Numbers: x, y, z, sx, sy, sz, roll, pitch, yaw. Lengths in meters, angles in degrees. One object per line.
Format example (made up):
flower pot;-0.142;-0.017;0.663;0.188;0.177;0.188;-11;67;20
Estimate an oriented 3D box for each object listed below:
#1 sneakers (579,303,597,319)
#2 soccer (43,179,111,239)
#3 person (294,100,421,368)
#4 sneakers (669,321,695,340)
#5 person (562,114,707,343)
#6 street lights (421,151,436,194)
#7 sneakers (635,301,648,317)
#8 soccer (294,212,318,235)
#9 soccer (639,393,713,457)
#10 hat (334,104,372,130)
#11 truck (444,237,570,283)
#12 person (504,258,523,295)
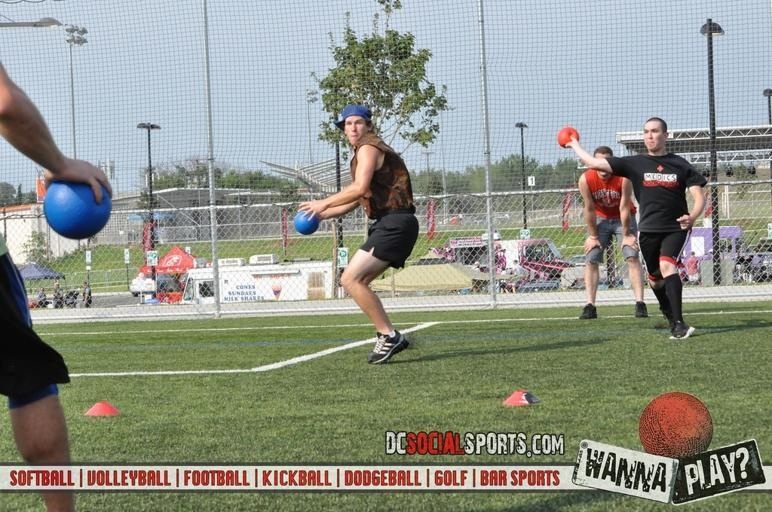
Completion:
sneakers;2.670;0.736;14.705;0.214;0.189;0.456;1;1;8
soccer;-2.673;-0.431;9.513;0.523;0.556;0.511;-2;17;2
person;-0.192;-0.285;12.203;1.052;2.708;0.702;-4;1;0
sneakers;3.300;0.834;12.378;0.137;0.151;0.336;-25;-8;-2
person;3.071;-0.342;12.791;1.224;2.215;0.800;-4;1;15
street lights;0.661;-1.339;17.318;0.142;0.664;0.188;-4;1;0
sneakers;3.311;0.694;14.386;0.101;0.156;0.252;1;5;13
soccer;-0.876;-0.348;12.288;0.250;0.273;0.245;-9;-16;12
soccer;2.503;1.512;9.561;0.564;0.547;0.539;-11;-16;21
hat;-0.379;-1.580;12.358;0.374;0.167;0.266;-11;3;-8
truck;3.244;0.105;30.075;2.570;1.205;1.449;-1;3;15
person;3.161;0.523;27.577;0.317;0.931;0.331;23;-37;-23
